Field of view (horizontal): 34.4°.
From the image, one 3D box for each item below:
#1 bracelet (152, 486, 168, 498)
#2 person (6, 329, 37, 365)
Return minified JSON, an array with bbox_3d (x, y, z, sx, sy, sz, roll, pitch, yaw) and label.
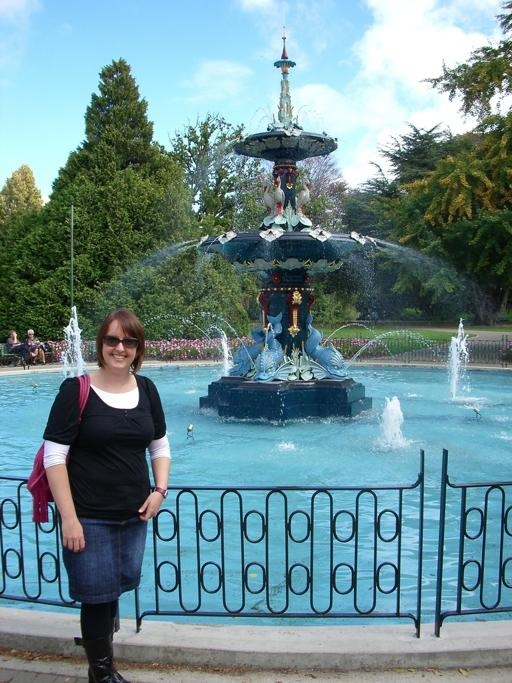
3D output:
[{"bbox_3d":[-0.491,0.748,4.158,0.076,0.047,0.075,3,-14,26],"label":"bracelet"},{"bbox_3d":[-6.626,0.173,23.589,0.492,0.748,1.215,1,3,18],"label":"person"}]
